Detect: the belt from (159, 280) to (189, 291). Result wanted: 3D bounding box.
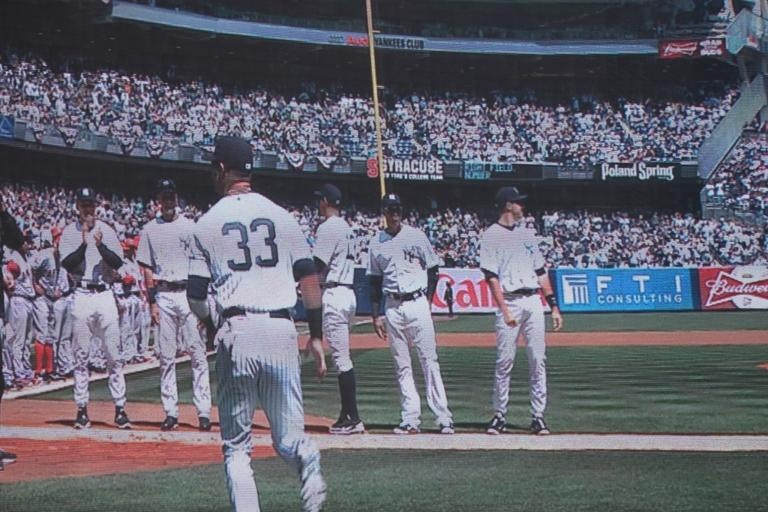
[{"bbox_3d":[-6.454,0.889,42.403,0.855,0.308,0.100,-2,-2,0],"label":"belt"}]

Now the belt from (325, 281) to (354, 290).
[{"bbox_3d":[-1.425,0.861,42.410,0.887,0.199,0.207,-1,-2,-15],"label":"belt"}]

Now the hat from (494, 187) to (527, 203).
[{"bbox_3d":[3.873,-1.827,42.543,0.665,0.512,0.989,-4,-3,38],"label":"hat"}]
